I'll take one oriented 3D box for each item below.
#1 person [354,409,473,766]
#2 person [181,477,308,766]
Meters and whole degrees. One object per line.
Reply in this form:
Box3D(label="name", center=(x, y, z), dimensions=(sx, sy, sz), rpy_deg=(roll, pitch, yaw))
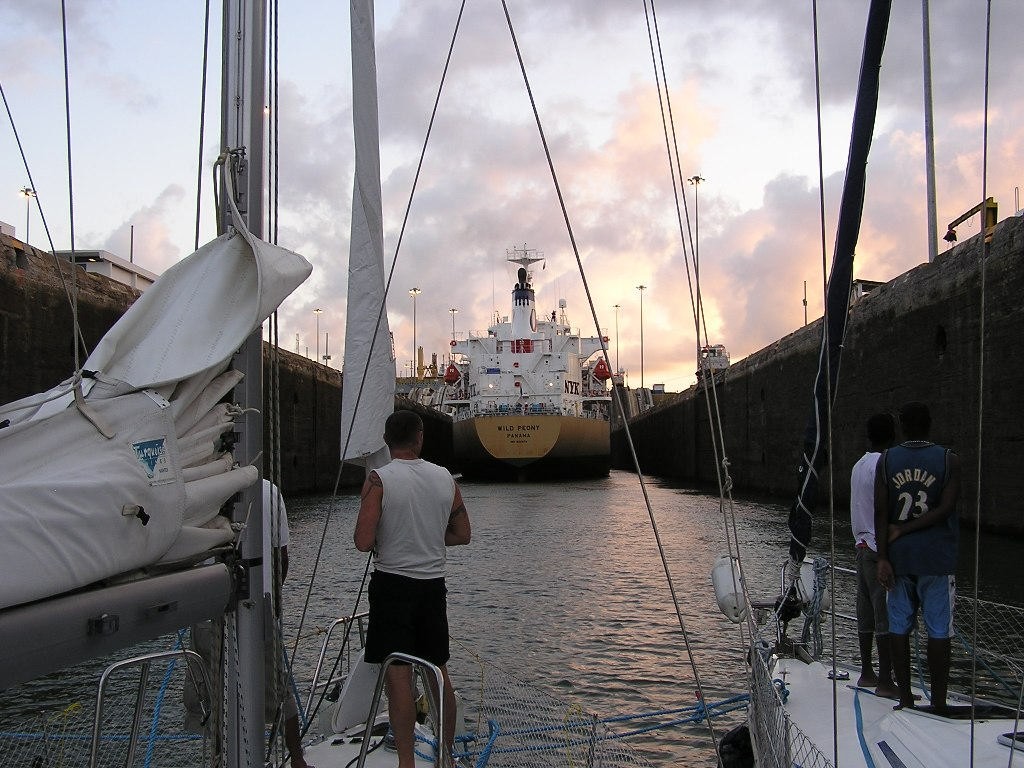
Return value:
Box3D(label="person", center=(-0.459, 0.971, 4.892), dimensions=(0.621, 1.692, 0.503), rpy_deg=(4, -3, -41))
Box3D(label="person", center=(-1.175, 1.147, 4.638), dimensions=(0.603, 1.438, 1.493), rpy_deg=(2, -3, -18))
